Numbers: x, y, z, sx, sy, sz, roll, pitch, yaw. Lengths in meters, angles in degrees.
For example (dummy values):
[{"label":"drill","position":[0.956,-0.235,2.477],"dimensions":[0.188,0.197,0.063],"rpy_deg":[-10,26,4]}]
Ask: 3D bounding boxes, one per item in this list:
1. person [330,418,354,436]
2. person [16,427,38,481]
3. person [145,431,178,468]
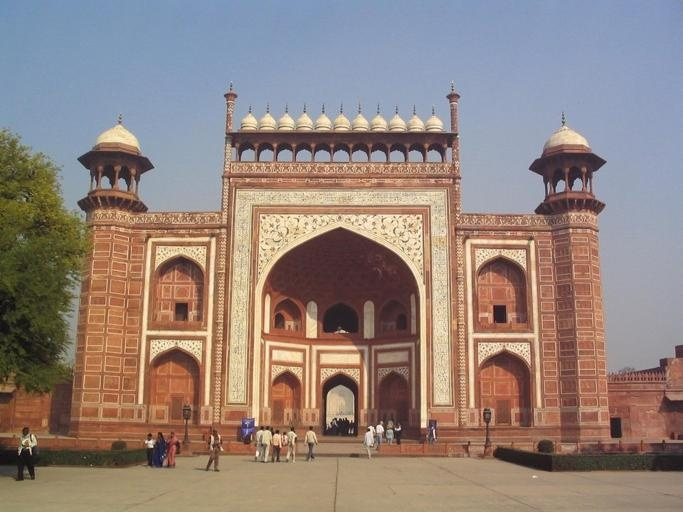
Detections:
[{"label":"person","position":[-0.004,6.963,30.547],"dimensions":[0.974,0.724,1.059],"rpy_deg":[1,-17,-5]},{"label":"person","position":[-7.012,4.411,16.796],"dimensions":[0.402,1.195,1.232],"rpy_deg":[6,-18,-21]},{"label":"person","position":[-4.673,5.028,19.445],"dimensions":[0.717,0.926,1.130],"rpy_deg":[4,-18,-14]}]
